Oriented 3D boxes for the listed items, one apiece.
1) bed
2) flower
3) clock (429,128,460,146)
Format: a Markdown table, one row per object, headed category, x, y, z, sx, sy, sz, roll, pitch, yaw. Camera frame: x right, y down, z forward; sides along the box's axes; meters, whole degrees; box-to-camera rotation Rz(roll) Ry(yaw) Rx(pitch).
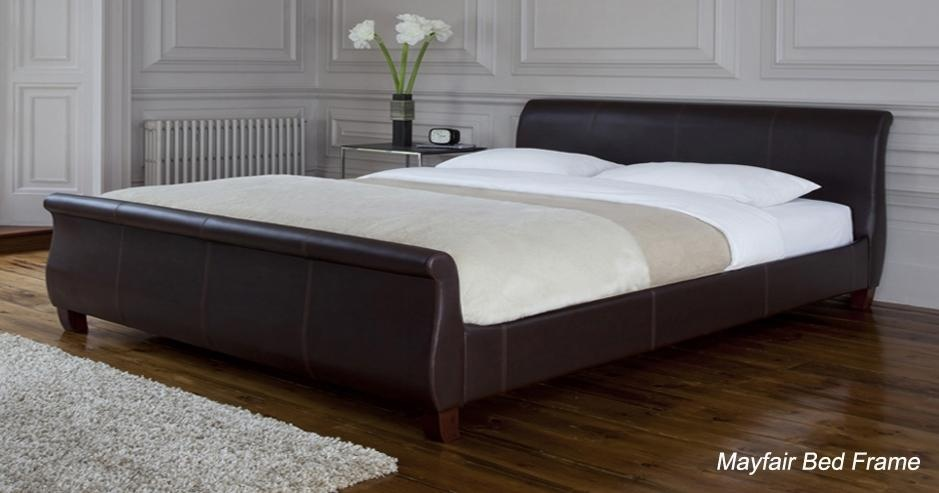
| category | x | y | z | sx | sy | sz | roll | pitch | yaw |
| --- | --- | --- | --- | --- | --- | --- | --- | --- | --- |
| bed | 0.175 | -0.172 | 4.172 | 4.810 | 1.415 | 2.411 | -10 | 18 | -31 |
| flower | -0.734 | -1.750 | 6.056 | 0.932 | 0.666 | 0.741 | -1 | 3 | -30 |
| clock | -0.213 | -0.937 | 5.735 | 0.254 | 0.140 | 0.183 | 4 | 6 | 38 |
